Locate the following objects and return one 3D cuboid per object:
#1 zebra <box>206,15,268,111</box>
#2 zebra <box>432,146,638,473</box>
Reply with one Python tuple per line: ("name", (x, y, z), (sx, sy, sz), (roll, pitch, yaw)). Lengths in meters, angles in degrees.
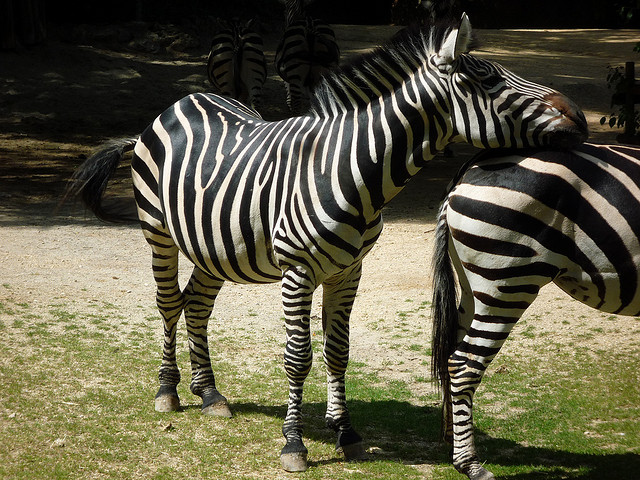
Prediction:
("zebra", (-1.421, -3.085, 13.808), (1.124, 1.770, 2.213), (-6, 20, -5))
("zebra", (1.406, 0.454, 5.221), (1.140, 2.063, 0.582), (-2, 18, -13))
